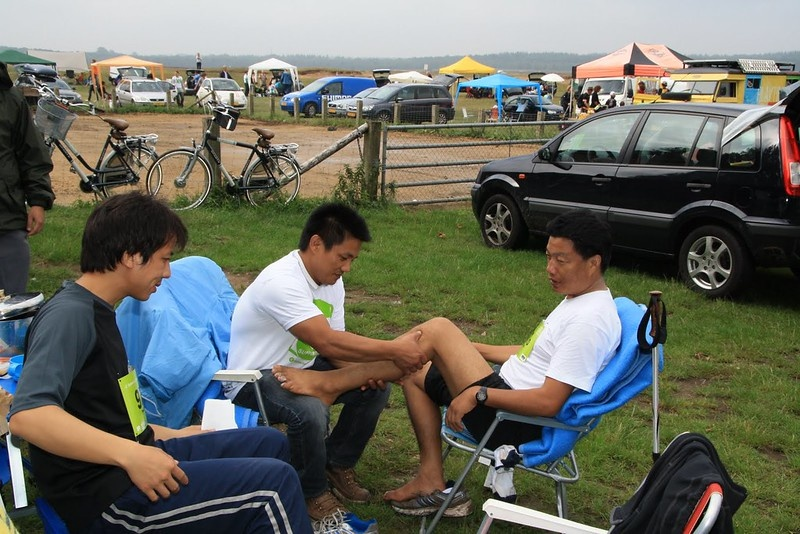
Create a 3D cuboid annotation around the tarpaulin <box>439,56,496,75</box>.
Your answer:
[{"bbox_3d":[4.696,-13.770,44.170,2.939,1.176,4.187,-1,16,-14],"label":"tarpaulin"}]

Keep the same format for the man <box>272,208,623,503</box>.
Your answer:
[{"bbox_3d":[0.317,0.566,4.101,1.949,1.946,0.997,6,-1,5],"label":"man"}]

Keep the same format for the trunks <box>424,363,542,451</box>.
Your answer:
[{"bbox_3d":[0.516,0.877,3.816,0.609,0.452,0.152,13,20,32],"label":"trunks"}]

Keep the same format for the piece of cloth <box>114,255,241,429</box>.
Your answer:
[{"bbox_3d":[-1.385,0.388,4.099,0.762,0.994,0.352,0,-30,-33],"label":"piece of cloth"}]

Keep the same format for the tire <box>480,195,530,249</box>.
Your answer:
[{"bbox_3d":[1.451,-0.611,8.731,0.215,0.657,0.628,-2,-7,-45],"label":"tire"}]

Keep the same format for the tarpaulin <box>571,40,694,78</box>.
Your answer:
[{"bbox_3d":[12.513,-10.607,33.533,7.448,1.980,4.735,-9,19,-36],"label":"tarpaulin"}]

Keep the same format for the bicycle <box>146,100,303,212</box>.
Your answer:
[{"bbox_3d":[-3.003,-1.754,10.368,2.701,1.704,1.410,3,12,-16],"label":"bicycle"}]

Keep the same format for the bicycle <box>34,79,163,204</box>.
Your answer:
[{"bbox_3d":[-4.508,-1.664,9.358,1.073,1.586,2.561,18,16,20],"label":"bicycle"}]

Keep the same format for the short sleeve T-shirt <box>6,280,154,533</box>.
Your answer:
[{"bbox_3d":[-1.490,0.655,3.063,0.506,1.103,0.411,0,15,-10],"label":"short sleeve T-shirt"}]

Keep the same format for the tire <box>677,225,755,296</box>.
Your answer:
[{"bbox_3d":[3.439,-0.083,6.985,0.208,0.639,0.616,-16,-2,-37],"label":"tire"}]

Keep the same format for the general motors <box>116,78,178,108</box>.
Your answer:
[{"bbox_3d":[-11.937,-8.255,29.741,1.665,1.043,2.539,-10,14,-38],"label":"general motors"}]

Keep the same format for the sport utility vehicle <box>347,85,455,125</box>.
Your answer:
[{"bbox_3d":[0.379,-6.442,25.307,4.011,1.494,1.708,-8,18,-34],"label":"sport utility vehicle"}]

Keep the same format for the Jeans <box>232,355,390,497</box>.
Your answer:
[{"bbox_3d":[-0.528,0.921,4.366,0.833,1.044,0.773,2,7,32],"label":"Jeans"}]

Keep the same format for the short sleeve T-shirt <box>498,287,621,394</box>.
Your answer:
[{"bbox_3d":[0.932,0.456,3.763,0.659,0.645,0.388,8,16,19],"label":"short sleeve T-shirt"}]

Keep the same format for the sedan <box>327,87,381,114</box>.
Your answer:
[{"bbox_3d":[-1.729,-6.863,26.655,2.302,0.781,1.043,-12,15,-29],"label":"sedan"}]

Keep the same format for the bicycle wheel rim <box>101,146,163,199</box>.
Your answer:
[{"bbox_3d":[-4.076,-1.519,9.826,1.261,0.672,0.281,1,23,35],"label":"bicycle wheel rim"}]
